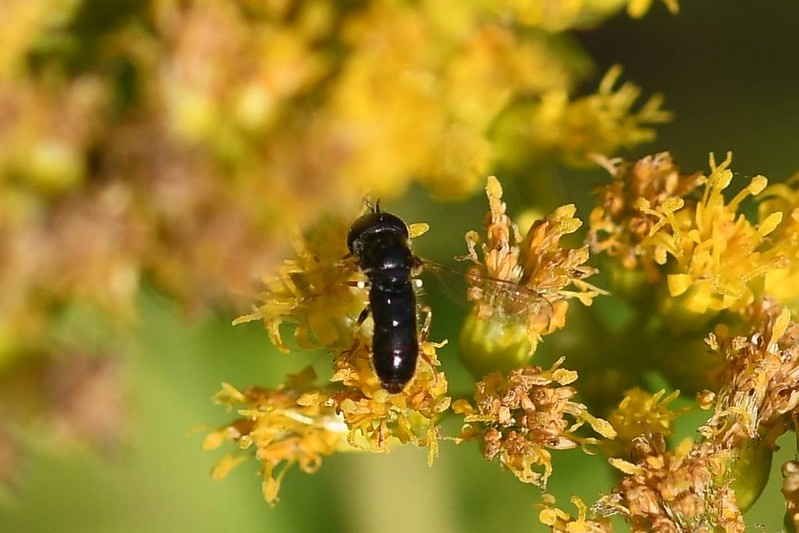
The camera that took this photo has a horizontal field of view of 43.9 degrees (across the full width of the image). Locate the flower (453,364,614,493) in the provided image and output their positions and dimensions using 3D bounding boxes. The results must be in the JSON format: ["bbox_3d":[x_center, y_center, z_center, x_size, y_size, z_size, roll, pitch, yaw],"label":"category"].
[{"bbox_3d":[0.461,0.564,3.562,0.520,0.288,0.380,-29,-60,9],"label":"flower"}]

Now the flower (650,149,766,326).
[{"bbox_3d":[1.136,-0.078,3.611,0.400,0.567,0.541,1,-81,-12],"label":"flower"}]

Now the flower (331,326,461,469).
[{"bbox_3d":[-0.023,0.492,3.551,0.384,0.163,0.414,3,-95,-10],"label":"flower"}]

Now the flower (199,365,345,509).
[{"bbox_3d":[-0.458,0.630,3.608,0.531,0.267,0.375,-11,-58,-1],"label":"flower"}]
